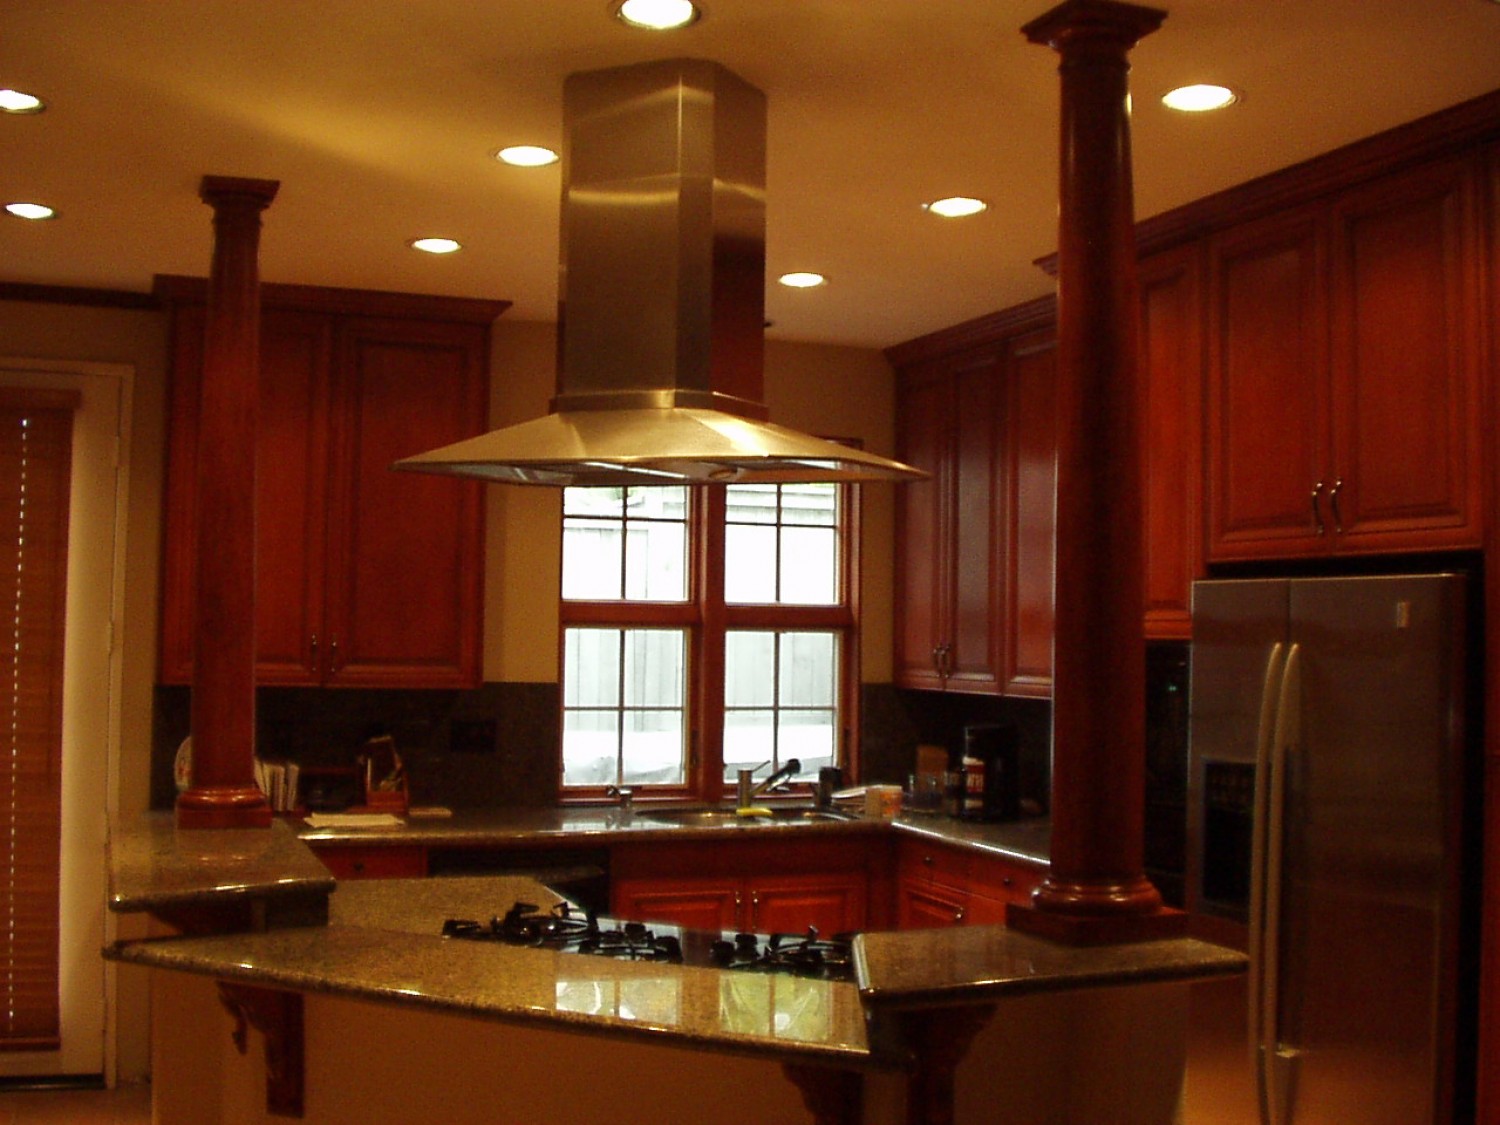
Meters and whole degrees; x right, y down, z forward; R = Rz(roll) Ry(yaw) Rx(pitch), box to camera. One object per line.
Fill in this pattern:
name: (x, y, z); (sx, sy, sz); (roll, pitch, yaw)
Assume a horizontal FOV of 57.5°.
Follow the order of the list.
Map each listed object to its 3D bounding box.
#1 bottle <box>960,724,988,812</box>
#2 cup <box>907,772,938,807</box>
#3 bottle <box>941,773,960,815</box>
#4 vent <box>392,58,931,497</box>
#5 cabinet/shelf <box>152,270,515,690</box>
bottle: (0.891, 0.831, 5.426); (0.102, 0.337, 0.098); (-3, -2, 0)
cup: (0.729, 0.970, 5.817); (0.137, 0.132, 0.099); (-4, -12, 44)
bottle: (0.828, 0.931, 5.482); (0.045, 0.169, 0.140); (-2, -3, -17)
vent: (-0.214, -0.708, 3.589); (1.141, 1.023, 1.220); (3, 5, 29)
cabinet/shelf: (-1.581, -0.307, 5.042); (1.479, 1.866, 0.713); (2, -5, -17)
